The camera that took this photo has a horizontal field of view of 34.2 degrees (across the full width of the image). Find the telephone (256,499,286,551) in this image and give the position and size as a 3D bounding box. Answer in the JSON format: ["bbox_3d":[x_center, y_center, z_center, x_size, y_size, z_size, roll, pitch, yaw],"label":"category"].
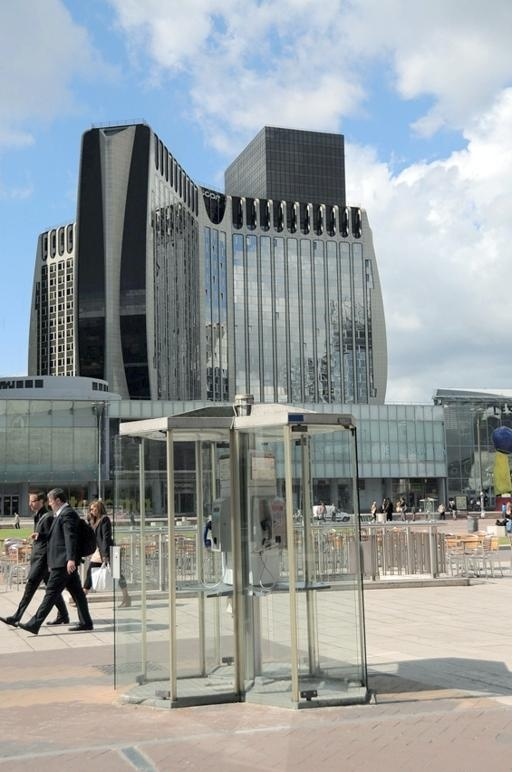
[{"bbox_3d":[0.136,1.143,6.833,0.116,0.429,0.274,-10,0,-42],"label":"telephone"}]

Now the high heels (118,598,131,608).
[{"bbox_3d":[-1.106,1.873,7.094,0.126,0.095,0.049,-2,-9,37],"label":"high heels"}]
